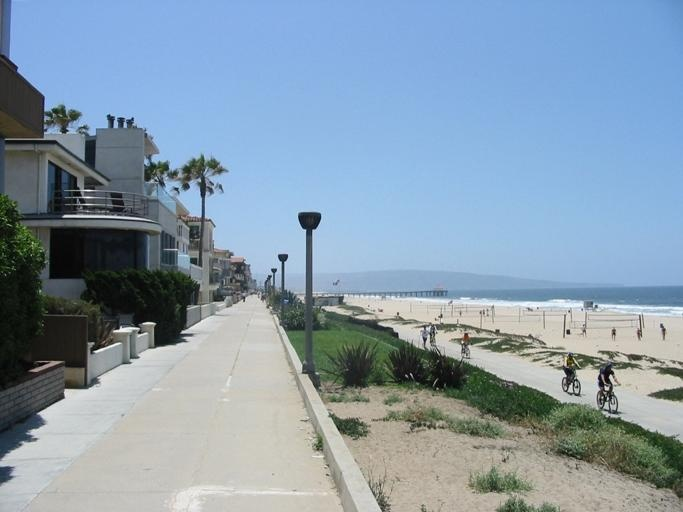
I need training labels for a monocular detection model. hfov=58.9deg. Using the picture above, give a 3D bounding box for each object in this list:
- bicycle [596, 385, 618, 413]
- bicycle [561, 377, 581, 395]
[{"bbox_3d":[11.833,6.314,26.904,0.899,1.101,1.909,0,-4,26],"label":"bicycle"},{"bbox_3d":[11.535,6.496,30.469,0.589,0.945,1.335,0,-4,-18],"label":"bicycle"}]
